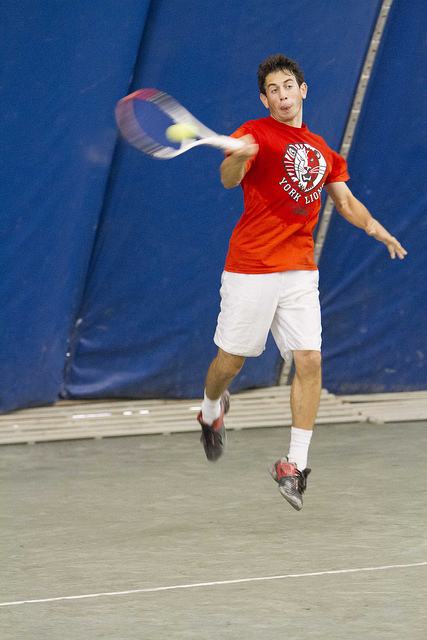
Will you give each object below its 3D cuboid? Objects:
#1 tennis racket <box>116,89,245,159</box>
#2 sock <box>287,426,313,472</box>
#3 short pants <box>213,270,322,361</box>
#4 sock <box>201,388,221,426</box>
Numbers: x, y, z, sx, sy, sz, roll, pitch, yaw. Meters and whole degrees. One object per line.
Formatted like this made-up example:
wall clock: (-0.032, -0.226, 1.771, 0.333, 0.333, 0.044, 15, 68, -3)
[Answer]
tennis racket: (-0.146, -0.775, 2.611, 0.790, 0.053, 0.274, 20, 68, 37)
sock: (0.298, 0.446, 2.365, 0.083, 0.141, 0.173, -1, 1, 6)
short pants: (0.254, -0.021, 2.589, 0.440, 0.310, 0.234, 1, -7, 25)
sock: (-0.012, 0.377, 2.840, 0.064, 0.167, 0.068, 5, 55, 4)
